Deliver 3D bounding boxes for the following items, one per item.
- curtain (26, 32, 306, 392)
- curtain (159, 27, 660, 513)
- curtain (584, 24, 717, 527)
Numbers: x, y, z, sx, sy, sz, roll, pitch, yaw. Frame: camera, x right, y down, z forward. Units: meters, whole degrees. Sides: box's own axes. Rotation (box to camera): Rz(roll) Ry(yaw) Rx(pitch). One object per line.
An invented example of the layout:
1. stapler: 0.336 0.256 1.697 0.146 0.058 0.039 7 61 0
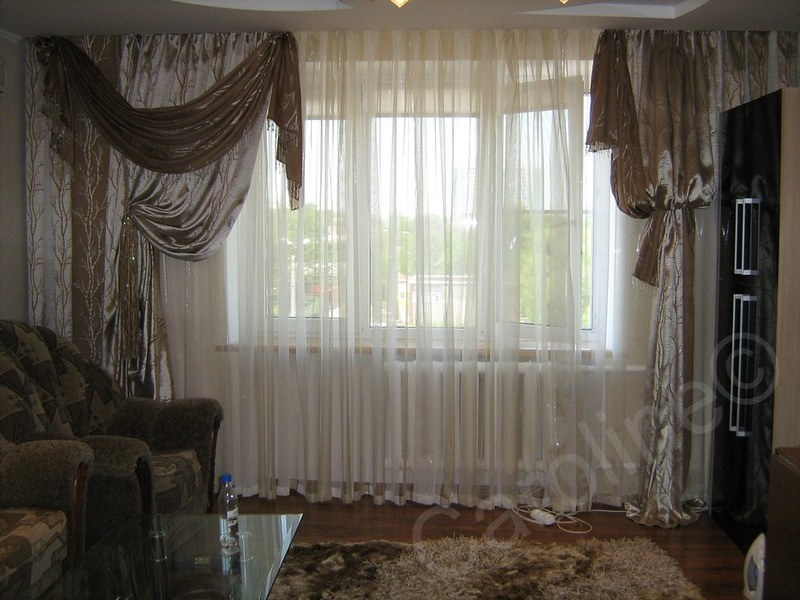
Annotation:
1. curtain: -1.595 -0.669 4.975 1.843 2.788 0.265 -1 1 1
2. curtain: 0.184 -0.278 4.933 2.480 2.972 0.213 0 3 4
3. curtain: 1.607 -0.157 4.824 0.817 3.034 0.783 3 13 13
